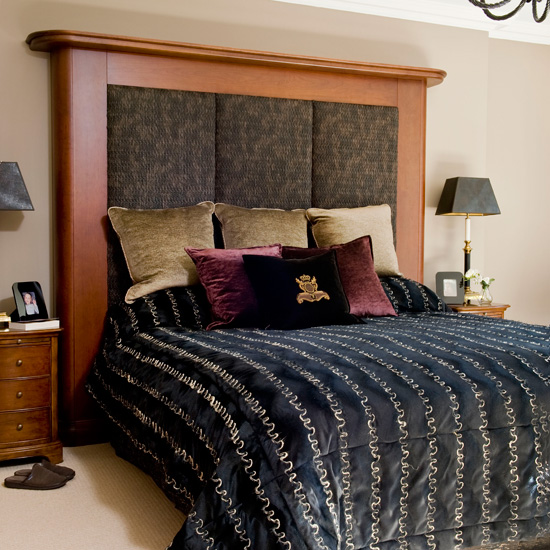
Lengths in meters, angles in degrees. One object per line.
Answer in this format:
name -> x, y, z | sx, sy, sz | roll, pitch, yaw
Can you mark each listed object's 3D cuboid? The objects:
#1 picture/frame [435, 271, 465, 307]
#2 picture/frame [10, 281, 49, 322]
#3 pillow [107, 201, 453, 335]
picture/frame -> 1.201, 0.098, 3.746 | 0.273, 0.254, 0.022 | 3, -10, -16
picture/frame -> -1.277, 0.131, 2.779 | 0.133, 0.190, 0.170 | 0, 1, 23
pillow -> -0.052, -0.046, 2.892 | 1.078, 0.557, 0.255 | -7, -18, -29
